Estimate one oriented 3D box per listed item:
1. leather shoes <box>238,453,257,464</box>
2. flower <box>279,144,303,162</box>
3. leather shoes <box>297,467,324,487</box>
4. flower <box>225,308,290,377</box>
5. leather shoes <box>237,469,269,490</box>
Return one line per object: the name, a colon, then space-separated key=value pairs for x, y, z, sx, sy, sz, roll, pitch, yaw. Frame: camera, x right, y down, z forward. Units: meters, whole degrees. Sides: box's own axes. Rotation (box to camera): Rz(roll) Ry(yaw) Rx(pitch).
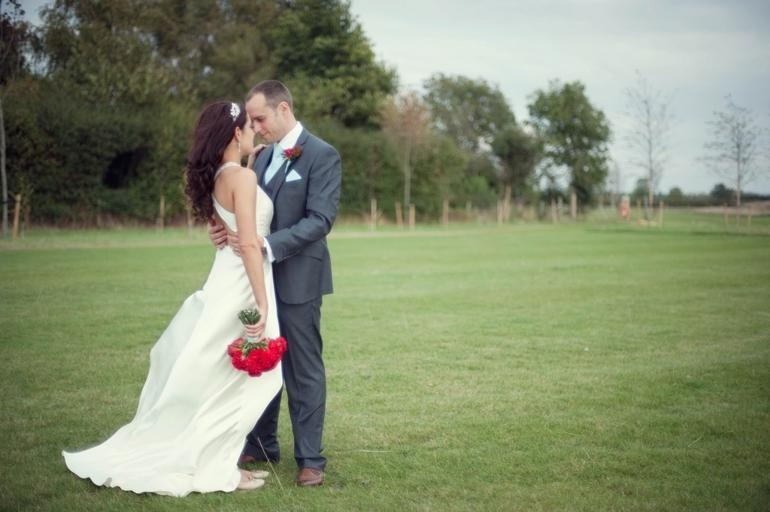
leather shoes: x=-1.682 y=2.443 z=9.307 sx=0.142 sy=0.098 sz=0.116 roll=9 pitch=-5 yaw=4
flower: x=-1.116 y=-1.197 z=9.026 sx=0.198 sy=0.152 sz=0.081 roll=-17 pitch=-1 yaw=29
leather shoes: x=-0.893 y=2.576 z=8.995 sx=0.275 sy=0.181 sz=0.132 roll=2 pitch=-4 yaw=1
flower: x=-1.531 y=1.028 z=9.120 sx=0.638 sy=0.796 sz=0.459 roll=-5 pitch=-3 yaw=-2
leather shoes: x=-1.579 y=2.613 z=9.055 sx=0.248 sy=0.084 sz=0.202 roll=-2 pitch=6 yaw=6
